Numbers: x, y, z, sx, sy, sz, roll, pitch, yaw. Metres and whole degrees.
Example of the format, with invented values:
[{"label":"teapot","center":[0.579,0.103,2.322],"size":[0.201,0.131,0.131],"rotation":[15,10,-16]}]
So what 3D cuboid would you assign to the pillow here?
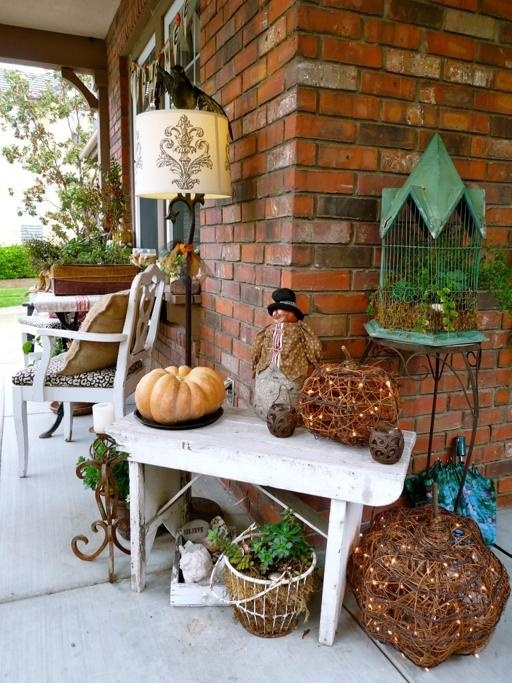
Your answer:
[{"label":"pillow","center":[-0.626,-0.036,2.226],"size":[0.299,0.337,0.302],"rotation":[-2,13,-14]}]

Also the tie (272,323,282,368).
[{"label":"tie","center":[0.064,0.010,1.545],"size":[0.041,0.129,0.026],"rotation":[10,15,42]}]

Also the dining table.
[{"label":"dining table","center":[-0.054,0.462,1.688],"size":[0.881,0.533,0.730],"rotation":[1,8,-1]}]

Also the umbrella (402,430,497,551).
[{"label":"umbrella","center":[0.686,0.517,1.881],"size":[0.315,0.386,0.213],"rotation":[-2,-25,21]}]

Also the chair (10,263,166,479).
[{"label":"chair","center":[-0.737,0.105,2.445],"size":[0.703,0.833,0.672],"rotation":[5,11,28]}]

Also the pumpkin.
[{"label":"pumpkin","center":[-0.226,0.151,1.627],"size":[0.258,0.139,0.261],"rotation":[7,21,10]}]

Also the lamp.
[{"label":"lamp","center":[-0.271,-0.330,1.987],"size":[0.323,0.875,0.418],"rotation":[-3,12,-18]}]

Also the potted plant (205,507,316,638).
[{"label":"potted plant","center":[0.020,0.606,1.404],"size":[0.272,0.283,0.233],"rotation":[-1,11,-5]}]

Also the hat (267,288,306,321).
[{"label":"hat","center":[0.086,-0.107,1.566],"size":[0.097,0.090,0.073],"rotation":[-4,11,-18]}]
